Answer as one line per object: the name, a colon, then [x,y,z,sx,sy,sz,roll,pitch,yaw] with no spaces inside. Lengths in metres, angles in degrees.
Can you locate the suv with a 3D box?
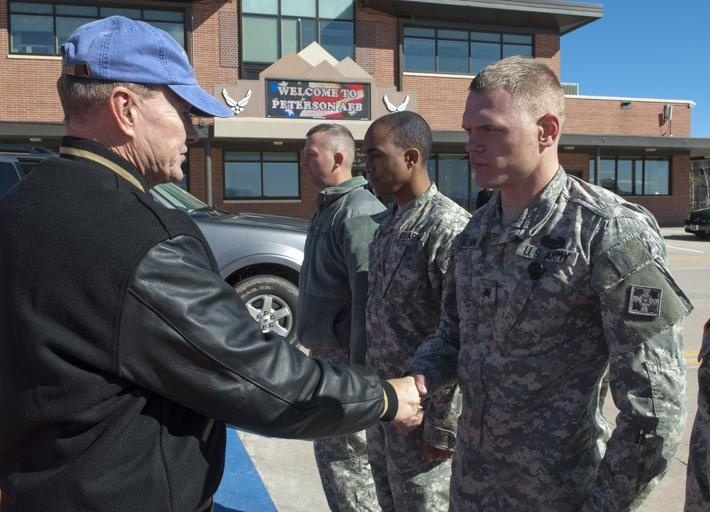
suv: [-1.622,-0.168,7.567,2.994,1.242,1.299,4,5,-7]

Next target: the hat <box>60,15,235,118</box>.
hat: [-0.766,-0.713,3.185,0.662,0.284,0.402,5,10,-26]
